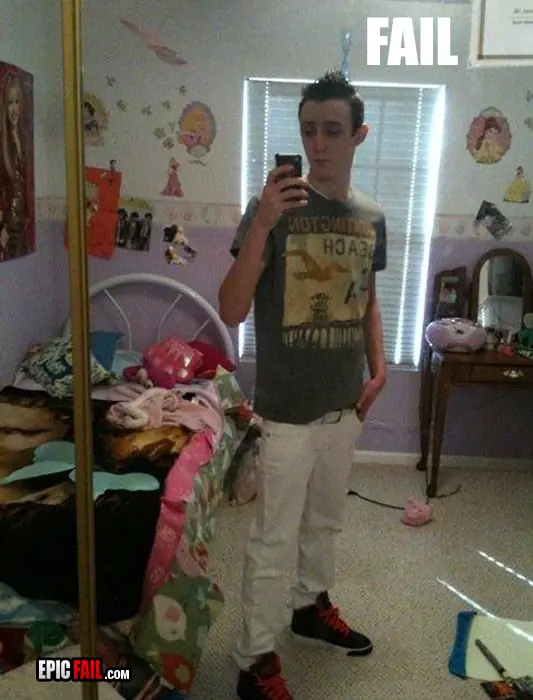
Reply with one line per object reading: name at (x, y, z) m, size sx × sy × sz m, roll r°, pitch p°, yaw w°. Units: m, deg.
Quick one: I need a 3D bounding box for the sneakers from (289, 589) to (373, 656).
sneakers at (0.119, 0.521, 1.136) m, size 0.208 × 0.120 × 0.067 m, roll 11°, pitch 16°, yaw 0°

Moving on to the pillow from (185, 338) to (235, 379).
pillow at (-0.155, 0.033, 1.674) m, size 0.109 × 0.035 × 0.117 m, roll 23°, pitch 25°, yaw -36°

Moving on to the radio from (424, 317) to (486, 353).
radio at (0.531, -0.058, 1.574) m, size 0.117 × 0.057 × 0.109 m, roll -5°, pitch 14°, yaw -39°

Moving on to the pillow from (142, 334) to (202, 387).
pillow at (-0.258, 0.021, 1.607) m, size 0.130 × 0.051 × 0.151 m, roll -2°, pitch 46°, yaw -26°

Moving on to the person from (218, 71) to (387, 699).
person at (0.098, 0.091, 0.968) m, size 0.300 × 1.004 × 0.151 m, roll -5°, pitch 14°, yaw -36°

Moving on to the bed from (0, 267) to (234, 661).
bed at (-0.290, 0.005, 1.418) m, size 0.426 × 0.376 × 0.648 m, roll 3°, pitch 12°, yaw -3°
